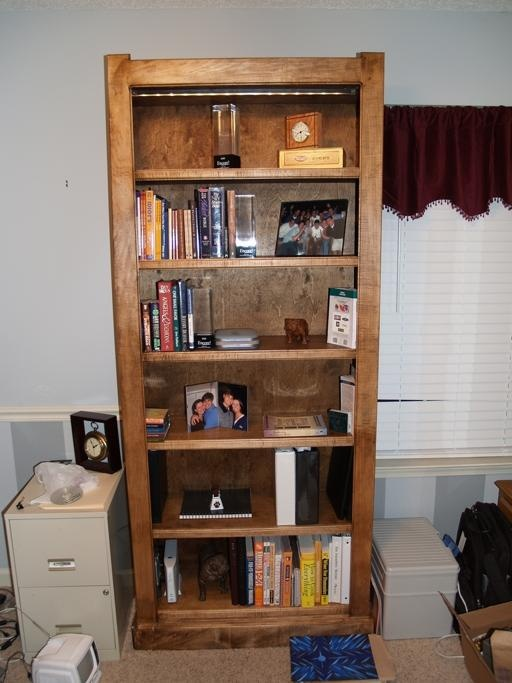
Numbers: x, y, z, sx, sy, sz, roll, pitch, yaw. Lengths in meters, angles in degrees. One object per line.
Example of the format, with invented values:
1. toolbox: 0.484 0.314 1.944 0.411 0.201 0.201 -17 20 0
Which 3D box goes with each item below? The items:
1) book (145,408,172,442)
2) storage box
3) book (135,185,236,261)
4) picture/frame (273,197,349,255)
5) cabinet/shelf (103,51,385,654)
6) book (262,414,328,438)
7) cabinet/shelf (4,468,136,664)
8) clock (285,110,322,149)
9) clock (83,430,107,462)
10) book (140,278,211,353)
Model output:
1. book: -0.365 0.315 2.173 0.097 0.041 0.123 -1 8 -9
2. storage box: 0.646 0.971 2.254 0.438 0.272 0.428 0 21 -3
3. book: -0.240 -0.405 2.026 0.341 0.243 0.074 -1 9 3
4. picture/frame: 0.200 -0.425 2.149 0.242 0.201 0.024 2 5 8
5. cabinet/shelf: -0.178 -0.159 2.277 0.742 1.474 0.197 -5 25 -22
6. book: 0.146 0.327 2.230 0.231 0.039 0.174 -2 9 1
7. cabinet/shelf: -0.700 0.876 2.204 0.370 0.665 0.235 -2 9 2
8. clock: 0.167 -0.744 2.070 0.123 0.128 0.089 -2 9 1
9. clock: -0.632 0.418 2.325 0.120 0.118 0.028 3 7 24
10. book: -0.283 -0.093 2.108 0.259 0.248 0.110 -3 9 -6
